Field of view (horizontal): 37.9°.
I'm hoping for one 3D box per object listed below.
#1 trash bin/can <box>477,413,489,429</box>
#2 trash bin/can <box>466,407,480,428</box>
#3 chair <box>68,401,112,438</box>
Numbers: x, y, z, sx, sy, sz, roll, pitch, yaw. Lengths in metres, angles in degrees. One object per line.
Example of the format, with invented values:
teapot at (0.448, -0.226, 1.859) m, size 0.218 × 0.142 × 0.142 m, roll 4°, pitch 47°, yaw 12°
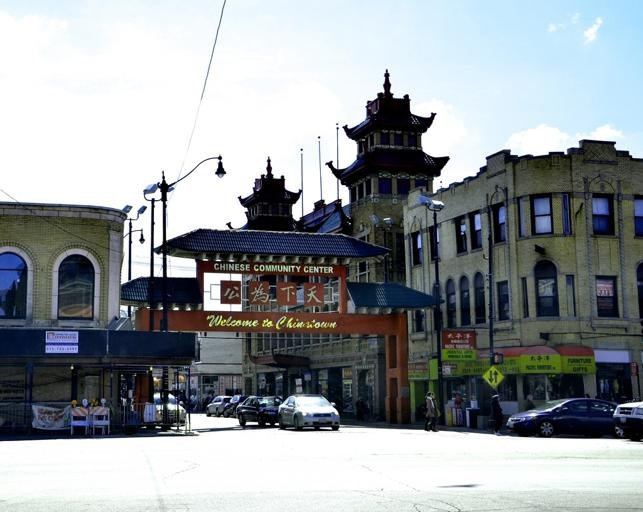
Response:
trash bin/can at (7.534, 7.622, 43.074) m, size 0.439 × 0.893 × 0.823 m, roll 3°, pitch -6°, yaw -13°
trash bin/can at (7.171, 7.617, 44.206) m, size 0.721 × 1.418 × 0.748 m, roll -1°, pitch -6°, yaw 10°
chair at (-9.236, 6.508, 37.586) m, size 1.771 × 1.353 × 1.037 m, roll 1°, pitch -5°, yaw -8°
